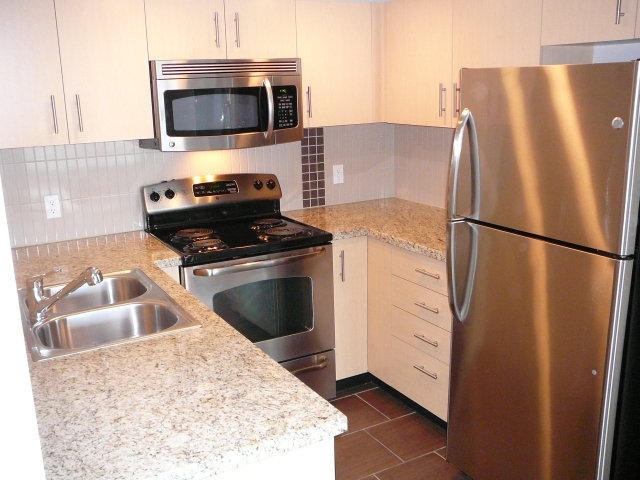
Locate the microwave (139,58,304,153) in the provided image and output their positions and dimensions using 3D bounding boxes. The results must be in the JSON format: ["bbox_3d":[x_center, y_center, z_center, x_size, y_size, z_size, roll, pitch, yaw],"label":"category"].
[{"bbox_3d":[-0.563,-0.786,2.683,0.991,0.563,0.613,-9,19,-28],"label":"microwave"}]

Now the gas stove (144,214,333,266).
[{"bbox_3d":[-0.498,-0.019,2.869,0.971,0.134,0.613,-11,17,-24],"label":"gas stove"}]
